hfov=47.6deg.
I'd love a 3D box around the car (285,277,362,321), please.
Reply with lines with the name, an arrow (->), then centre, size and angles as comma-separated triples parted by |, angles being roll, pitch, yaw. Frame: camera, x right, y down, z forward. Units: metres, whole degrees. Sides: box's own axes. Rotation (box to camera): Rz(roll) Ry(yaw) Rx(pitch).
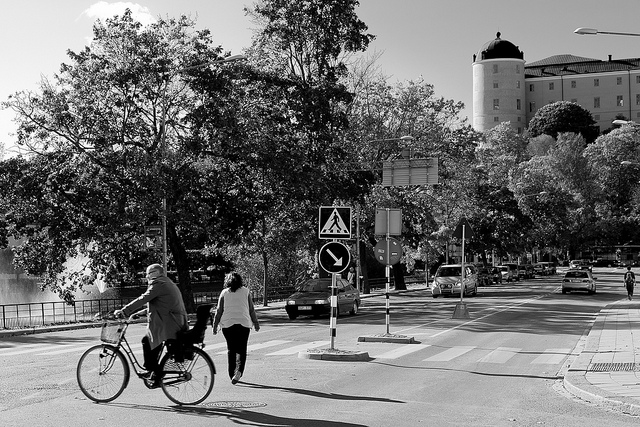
car -> 0.380, 4.189, 36.147 | 2.375, 1.918, 4.581 | -2, -3, 24

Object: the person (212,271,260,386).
person -> -1.964, 2.689, 17.277 | 1.140, 2.661, 0.804 | 0, -11, -5
